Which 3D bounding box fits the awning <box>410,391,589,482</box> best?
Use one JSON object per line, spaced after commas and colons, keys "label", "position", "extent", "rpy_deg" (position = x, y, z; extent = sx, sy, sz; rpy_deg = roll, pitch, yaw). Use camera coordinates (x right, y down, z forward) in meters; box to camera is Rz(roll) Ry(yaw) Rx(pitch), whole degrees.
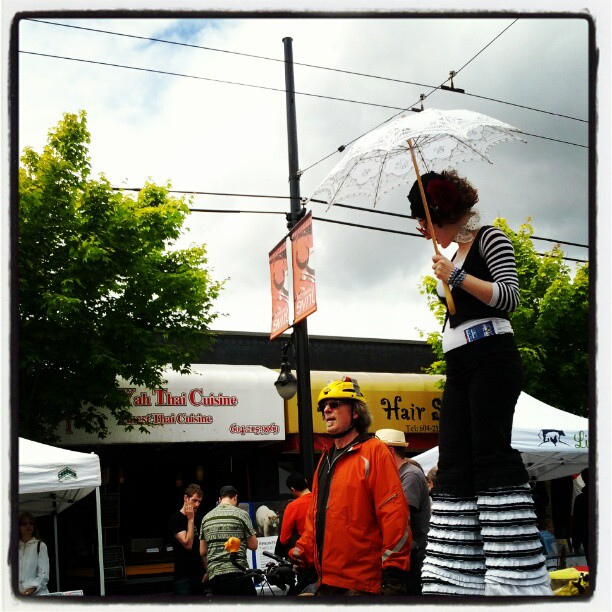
{"label": "awning", "position": [2.638, 1.587, 12.783], "extent": [2.214, 0.940, 2.269], "rpy_deg": [14, -7, -37]}

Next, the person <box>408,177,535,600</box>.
{"label": "person", "position": [0.972, 0.428, 6.107], "extent": [0.656, 2.509, 0.310], "rpy_deg": [-11, -12, 43]}

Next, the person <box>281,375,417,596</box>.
{"label": "person", "position": [0.336, 1.130, 6.751], "extent": [0.495, 1.422, 1.094], "rpy_deg": [0, -9, -21]}

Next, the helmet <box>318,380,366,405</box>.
{"label": "helmet", "position": [0.239, 0.574, 7.100], "extent": [0.233, 0.124, 0.174], "rpy_deg": [15, -19, -22]}

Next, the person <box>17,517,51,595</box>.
{"label": "person", "position": [-2.975, 2.735, 11.285], "extent": [0.288, 0.848, 0.778], "rpy_deg": [-1, -9, -15]}

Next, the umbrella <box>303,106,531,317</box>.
{"label": "umbrella", "position": [0.828, -0.724, 6.835], "extent": [1.206, 1.095, 1.204], "rpy_deg": [-8, -9, -14]}
